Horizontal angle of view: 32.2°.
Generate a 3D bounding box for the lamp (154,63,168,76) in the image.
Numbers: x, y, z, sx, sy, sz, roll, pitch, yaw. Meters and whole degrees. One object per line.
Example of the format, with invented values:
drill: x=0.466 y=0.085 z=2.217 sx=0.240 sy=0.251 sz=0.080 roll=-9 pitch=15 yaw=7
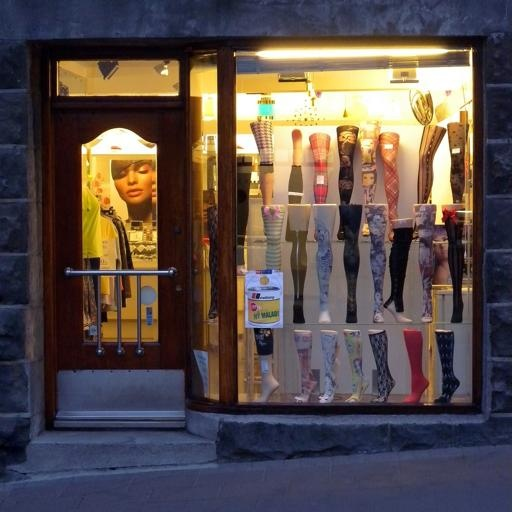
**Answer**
lamp: x=-0.590 y=-1.199 z=5.614 sx=0.081 sy=0.090 sz=0.061 roll=8 pitch=6 yaw=17
